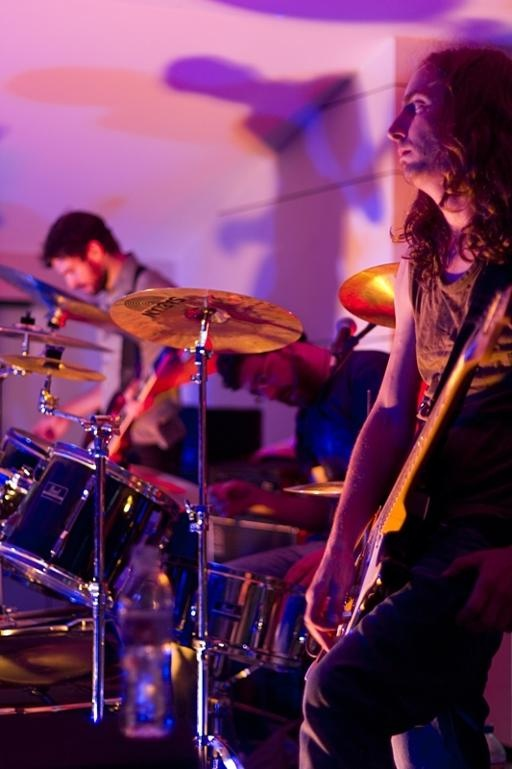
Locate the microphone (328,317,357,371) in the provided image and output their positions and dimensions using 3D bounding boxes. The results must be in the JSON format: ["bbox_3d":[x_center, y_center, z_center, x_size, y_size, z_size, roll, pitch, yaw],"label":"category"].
[{"bbox_3d":[0.258,-0.136,2.504,0.061,0.056,0.172,30,-19,4],"label":"microphone"}]

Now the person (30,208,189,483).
[{"bbox_3d":[-0.638,-0.231,3.926,0.614,0.823,1.618,6,31,-22],"label":"person"}]

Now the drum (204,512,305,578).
[{"bbox_3d":[-0.001,0.594,3.283,0.529,0.302,0.276,2,-10,-6],"label":"drum"}]

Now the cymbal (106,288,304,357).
[{"bbox_3d":[-0.129,-0.173,2.223,0.306,0.062,0.286,20,-24,-24],"label":"cymbal"}]

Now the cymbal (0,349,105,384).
[{"bbox_3d":[-0.655,-0.066,2.682,0.186,0.110,0.315,9,6,36],"label":"cymbal"}]

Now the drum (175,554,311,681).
[{"bbox_3d":[-0.029,0.632,2.270,0.391,0.251,0.295,18,-29,3],"label":"drum"}]
